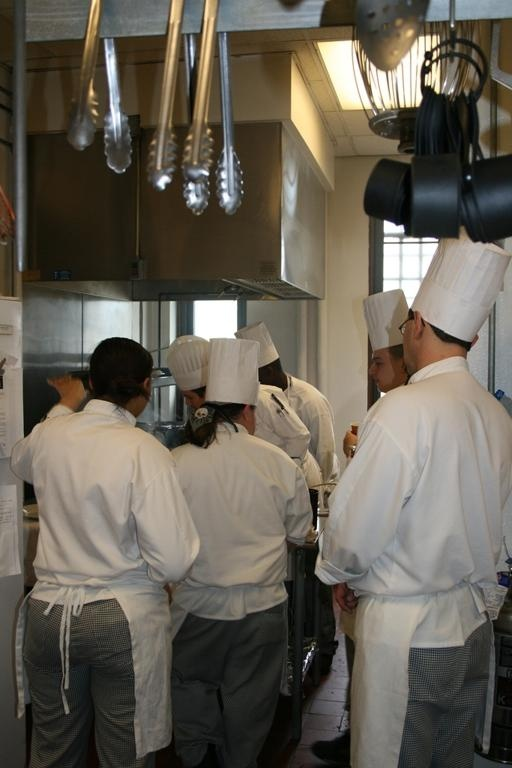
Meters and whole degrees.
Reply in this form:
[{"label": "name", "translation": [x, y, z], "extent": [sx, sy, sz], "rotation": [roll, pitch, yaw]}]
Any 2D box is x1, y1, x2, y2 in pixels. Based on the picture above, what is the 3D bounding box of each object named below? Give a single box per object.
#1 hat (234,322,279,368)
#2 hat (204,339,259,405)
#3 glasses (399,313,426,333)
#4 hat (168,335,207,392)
[{"label": "hat", "translation": [0.026, -0.172, 3.497], "extent": [0.149, 0.211, 0.205], "rotation": [-20, 14, 10]}, {"label": "hat", "translation": [-0.059, -0.028, 2.338], "extent": [0.133, 0.206, 0.195], "rotation": [1, -15, 1]}, {"label": "glasses", "translation": [0.309, -0.120, 1.552], "extent": [0.039, 0.043, 0.012], "rotation": [8, -6, -39]}, {"label": "hat", "translation": [-0.224, -0.078, 2.795], "extent": [0.133, 0.187, 0.183], "rotation": [-8, 9, 4]}]
